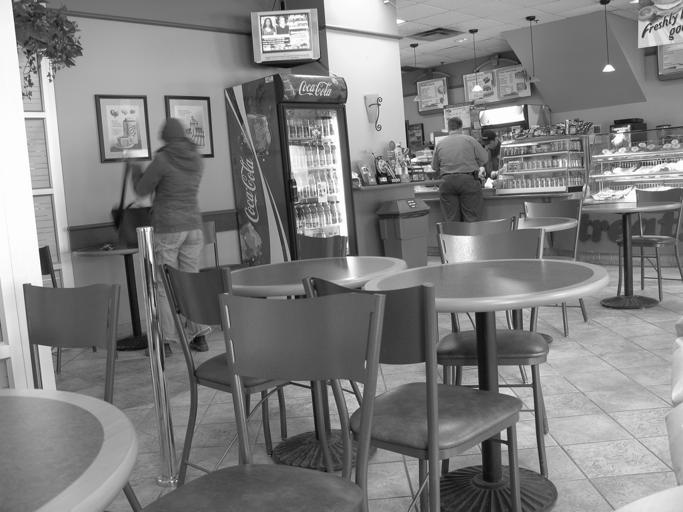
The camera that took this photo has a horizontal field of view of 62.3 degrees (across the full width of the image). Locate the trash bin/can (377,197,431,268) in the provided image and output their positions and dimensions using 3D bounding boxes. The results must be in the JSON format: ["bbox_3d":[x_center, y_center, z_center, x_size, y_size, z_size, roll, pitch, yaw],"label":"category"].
[{"bbox_3d":[0.687,-0.277,6.500,0.427,1.083,0.727,4,12,39],"label":"trash bin/can"}]

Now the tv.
[{"bbox_3d":[-0.587,-2.399,6.386,1.043,0.695,0.534,-1,9,2],"label":"tv"}]
